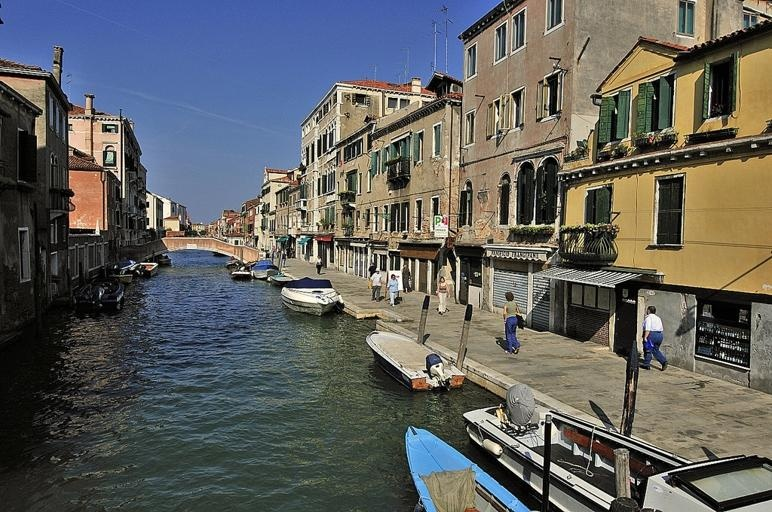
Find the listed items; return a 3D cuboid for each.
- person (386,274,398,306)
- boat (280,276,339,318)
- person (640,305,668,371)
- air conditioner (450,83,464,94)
[{"bbox_3d":[0.447,2.191,40.095,0.520,1.685,1.595,1,3,-2],"label":"person"},{"bbox_3d":[-4.884,2.693,41.732,1.921,2.213,4.408,-1,4,-39],"label":"boat"},{"bbox_3d":[11.269,3.441,26.564,0.975,2.634,0.892,0,4,-23],"label":"person"},{"bbox_3d":[4.978,-11.885,44.767,0.758,0.792,1.666,2,3,0],"label":"air conditioner"}]
